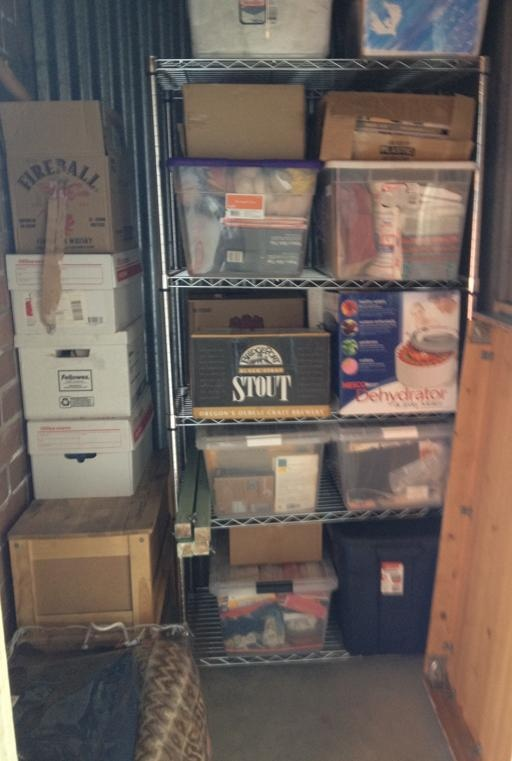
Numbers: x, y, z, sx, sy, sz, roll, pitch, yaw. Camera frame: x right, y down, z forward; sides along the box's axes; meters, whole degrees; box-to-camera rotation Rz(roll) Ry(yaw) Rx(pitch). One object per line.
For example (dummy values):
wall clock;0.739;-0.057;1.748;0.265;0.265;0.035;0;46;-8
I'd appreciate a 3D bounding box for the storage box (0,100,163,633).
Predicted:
storage box;-0.542;-0.047;2.065;0.450;1.529;0.574;-4;14;-9

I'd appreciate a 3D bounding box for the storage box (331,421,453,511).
storage box;0.415;0.256;2.084;0.325;0.227;0.234;-1;0;-4

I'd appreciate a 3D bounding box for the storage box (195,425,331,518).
storage box;0.013;0.246;1.964;0.413;0.312;0.250;-1;7;-4

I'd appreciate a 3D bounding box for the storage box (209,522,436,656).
storage box;0.290;0.610;2.295;0.704;0.549;0.404;-1;16;1

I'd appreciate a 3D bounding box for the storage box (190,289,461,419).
storage box;0.367;-0.071;2.078;0.693;0.361;0.368;-1;11;-2
